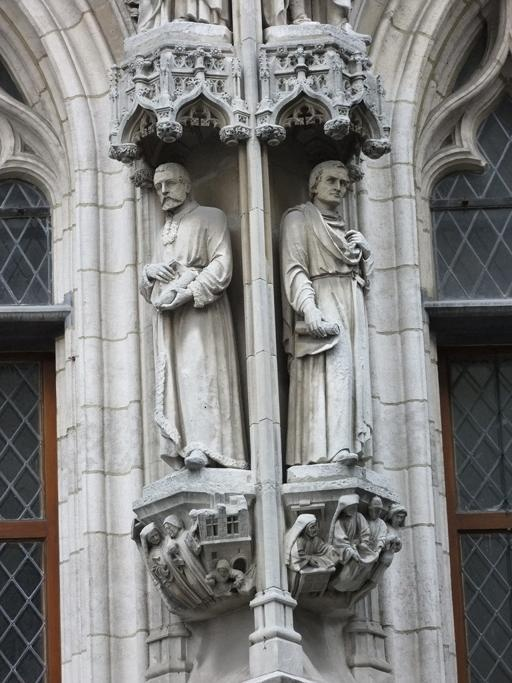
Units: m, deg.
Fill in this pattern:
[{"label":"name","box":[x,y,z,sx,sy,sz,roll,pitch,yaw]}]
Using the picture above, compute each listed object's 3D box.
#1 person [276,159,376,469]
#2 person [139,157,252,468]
[{"label":"person","box":[0.373,-0.125,10.889,0.516,1.771,0.400,-4,-35,1]},{"label":"person","box":[-0.337,-0.100,10.899,0.518,1.808,0.403,-3,-35,0]}]
